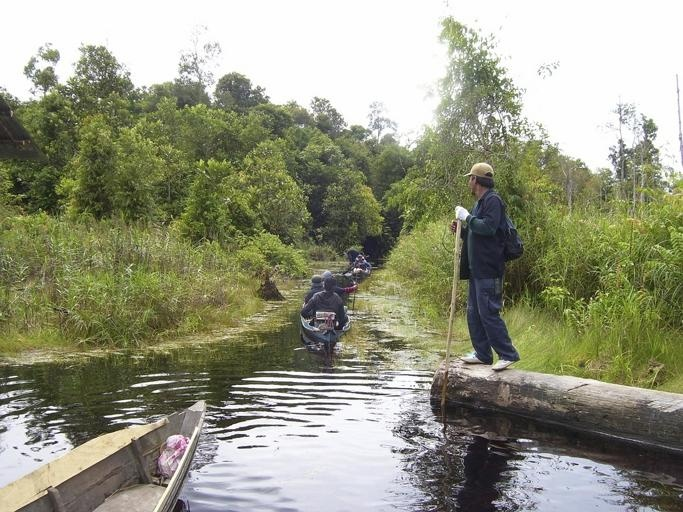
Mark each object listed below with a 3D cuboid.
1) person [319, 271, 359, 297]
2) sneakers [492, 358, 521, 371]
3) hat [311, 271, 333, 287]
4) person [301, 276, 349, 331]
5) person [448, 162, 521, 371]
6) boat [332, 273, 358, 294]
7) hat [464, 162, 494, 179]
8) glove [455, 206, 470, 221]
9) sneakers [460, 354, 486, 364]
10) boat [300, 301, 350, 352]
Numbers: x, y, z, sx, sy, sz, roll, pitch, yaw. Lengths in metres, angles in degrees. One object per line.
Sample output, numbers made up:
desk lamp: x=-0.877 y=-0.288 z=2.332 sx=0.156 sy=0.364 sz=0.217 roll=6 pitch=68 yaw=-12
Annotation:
person: x=0.108 y=0.589 z=14.846 sx=1.039 sy=0.443 sz=0.729 roll=21 pitch=-13 yaw=-10
sneakers: x=2.705 y=1.793 z=9.792 sx=0.414 sy=0.206 sz=0.149 roll=-17 pitch=1 yaw=-15
hat: x=-0.582 y=0.615 z=15.822 sx=0.408 sy=0.387 sz=0.676 roll=2 pitch=13 yaw=20
person: x=-0.395 y=1.214 z=14.949 sx=0.927 sy=2.014 sz=1.088 roll=-2 pitch=34 yaw=-10
person: x=2.362 y=0.198 z=9.774 sx=0.986 sy=3.373 sz=0.953 roll=2 pitch=7 yaw=7
boat: x=0.188 y=1.041 z=21.911 sx=1.028 sy=0.483 sz=1.331 roll=18 pitch=11 yaw=33
hat: x=2.267 y=-1.411 z=9.990 sx=0.528 sy=0.317 sz=0.422 roll=2 pitch=5 yaw=30
glove: x=2.012 y=-0.678 z=9.902 sx=0.200 sy=0.306 sz=0.121 roll=-8 pitch=-37 yaw=20
sneakers: x=2.222 y=1.771 z=10.124 sx=0.363 sy=0.189 sz=0.151 roll=5 pitch=-10 yaw=28
boat: x=-0.478 y=1.734 z=13.996 sx=1.099 sy=0.756 sz=1.339 roll=3 pitch=7 yaw=14
